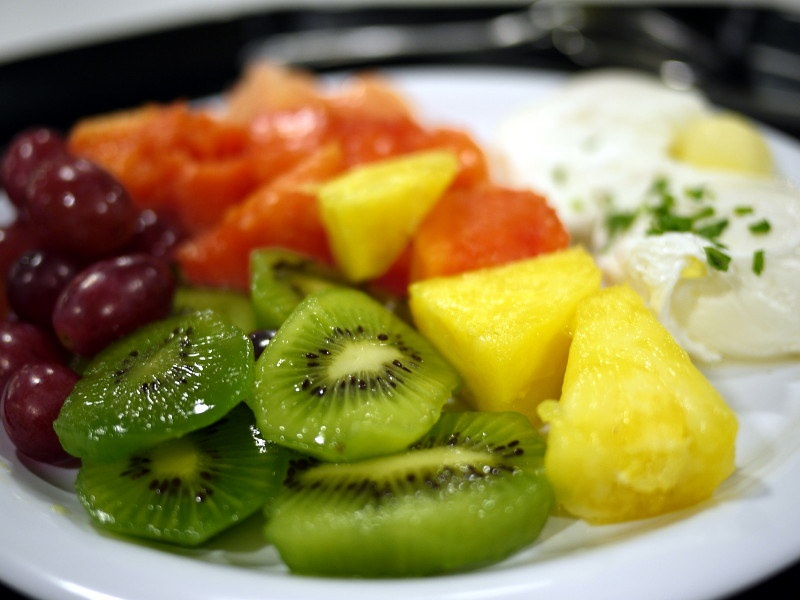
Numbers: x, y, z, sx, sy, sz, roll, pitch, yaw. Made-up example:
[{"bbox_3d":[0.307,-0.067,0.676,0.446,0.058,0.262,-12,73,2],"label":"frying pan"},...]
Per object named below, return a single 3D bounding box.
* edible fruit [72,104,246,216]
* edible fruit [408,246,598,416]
[{"bbox_3d":[-0.503,-0.314,1.680,0.291,0.117,0.284,-26,47,-32],"label":"edible fruit"},{"bbox_3d":[0.200,0.071,1.374,0.266,0.131,0.315,-33,42,-9],"label":"edible fruit"}]
